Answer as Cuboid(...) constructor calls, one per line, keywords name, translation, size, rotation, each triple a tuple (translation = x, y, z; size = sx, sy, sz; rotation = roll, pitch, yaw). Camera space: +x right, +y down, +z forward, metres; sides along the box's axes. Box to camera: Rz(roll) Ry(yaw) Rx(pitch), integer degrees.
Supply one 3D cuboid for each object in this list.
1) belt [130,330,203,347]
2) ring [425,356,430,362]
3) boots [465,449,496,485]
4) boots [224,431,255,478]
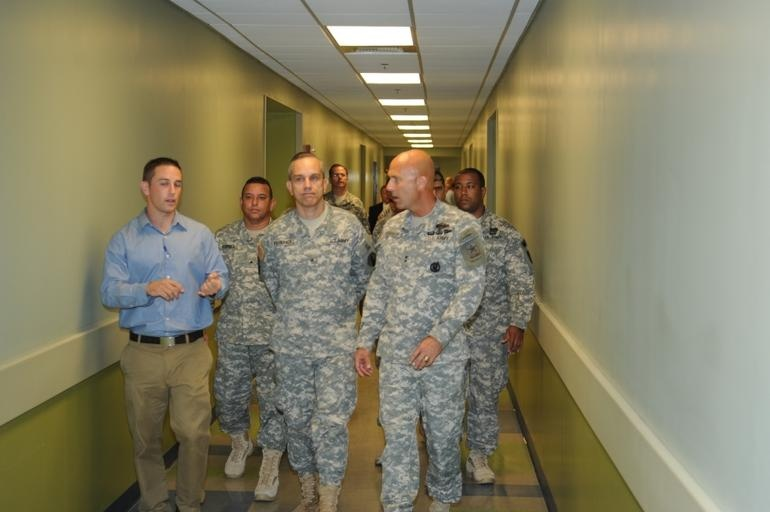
Cuboid(name="belt", translation=(-1.405, 0.541, 3.269), size=(0.437, 0.080, 0.139), rotation=(-2, 8, -22))
Cuboid(name="ring", translation=(0.233, 0.568, 2.716), size=(0.013, 0.024, 0.043), rotation=(6, -3, -3))
Cuboid(name="boots", translation=(0.766, 1.707, 4.059), size=(0.146, 0.190, 0.431), rotation=(7, -6, -9))
Cuboid(name="boots", translation=(-1.186, 1.643, 4.134), size=(0.137, 0.251, 0.406), rotation=(1, 18, 4))
